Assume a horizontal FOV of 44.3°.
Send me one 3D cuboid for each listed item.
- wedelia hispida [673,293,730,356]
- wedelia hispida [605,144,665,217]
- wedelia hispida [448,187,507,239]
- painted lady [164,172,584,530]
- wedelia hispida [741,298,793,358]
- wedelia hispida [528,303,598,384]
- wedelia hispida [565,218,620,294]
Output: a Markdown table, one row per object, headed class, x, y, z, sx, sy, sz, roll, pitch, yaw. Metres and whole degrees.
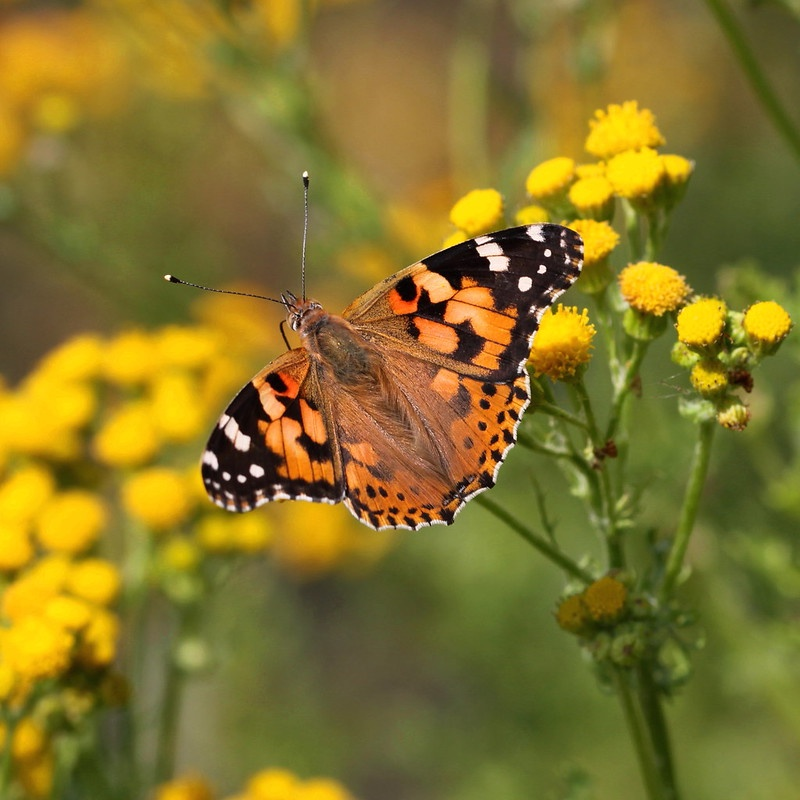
| class | x | y | z | sx | sy | sz | roll | pitch | yaw |
| --- | --- | --- | --- | --- | --- | --- | --- | --- | --- |
| wedelia hispida | 0.432 | -0.107 | 1.404 | 0.072 | 0.074 | 0.042 | -2 | 11 | -5 |
| wedelia hispida | 0.372 | -0.349 | 1.601 | 0.103 | 0.088 | 0.095 | 1 | 55 | 12 |
| wedelia hispida | 0.142 | -0.315 | 1.661 | 0.083 | 0.044 | 0.088 | -39 | 25 | -16 |
| painted lady | 0.023 | -0.027 | 1.632 | 0.658 | 0.453 | 0.373 | -9 | 16 | 19 |
| wedelia hispida | 0.518 | -0.104 | 1.395 | 0.080 | 0.070 | 0.084 | -1 | -27 | 4 |
| wedelia hispida | 0.241 | -0.084 | 1.468 | 0.121 | 0.105 | 0.054 | 10 | -12 | 26 |
| wedelia hispida | 0.311 | -0.229 | 1.560 | 0.074 | 0.121 | 0.067 | -13 | 16 | 10 |
